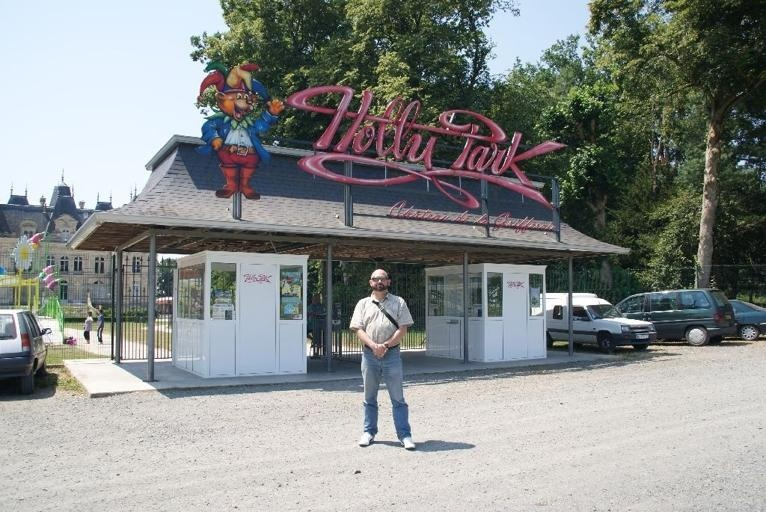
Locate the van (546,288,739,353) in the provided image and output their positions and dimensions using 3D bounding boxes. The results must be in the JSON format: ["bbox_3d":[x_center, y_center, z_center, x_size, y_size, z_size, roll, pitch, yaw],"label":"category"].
[{"bbox_3d":[9.963,2.549,31.411,6.577,2.364,3.472,1,-9,-16],"label":"van"}]

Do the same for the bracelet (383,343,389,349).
[{"bbox_3d":[0.064,1.883,16.788,0.125,0.122,0.090,-1,-8,-1],"label":"bracelet"}]

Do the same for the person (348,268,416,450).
[{"bbox_3d":[-0.009,2.197,17.012,1.243,3.806,0.963,-1,-8,-3],"label":"person"}]

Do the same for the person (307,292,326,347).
[{"bbox_3d":[-2.411,2.458,29.310,0.604,2.144,1.434,-1,-9,-5],"label":"person"}]

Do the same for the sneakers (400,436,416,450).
[{"bbox_3d":[0.524,3.944,16.800,0.324,0.285,0.290,-2,-9,0],"label":"sneakers"}]

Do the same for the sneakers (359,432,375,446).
[{"bbox_3d":[-0.357,3.924,16.988,0.164,0.184,0.435,-3,-15,12],"label":"sneakers"}]
